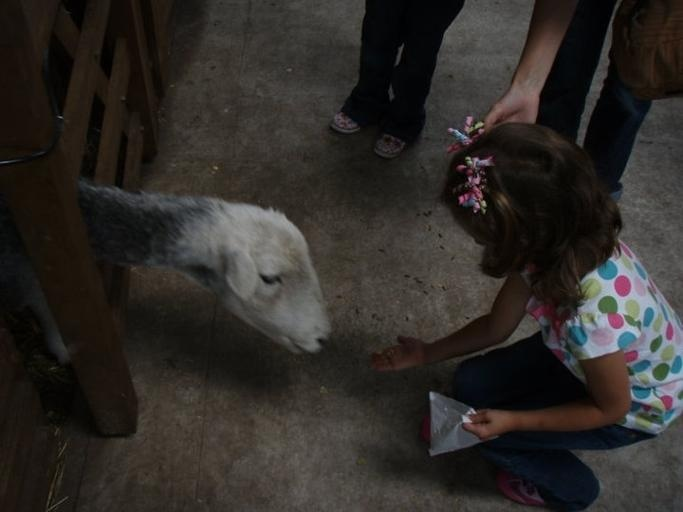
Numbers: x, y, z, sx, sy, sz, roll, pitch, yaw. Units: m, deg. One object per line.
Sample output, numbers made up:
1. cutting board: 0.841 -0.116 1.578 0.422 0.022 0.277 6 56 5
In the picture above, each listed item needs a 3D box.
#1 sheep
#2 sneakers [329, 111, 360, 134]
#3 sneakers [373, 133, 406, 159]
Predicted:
1. sheep: -0.669 0.044 3.419 1.829 0.774 0.729 19 68 -17
2. sneakers: 0.026 -0.991 4.769 0.241 0.118 0.128 -6 87 -10
3. sneakers: 0.356 -0.803 4.688 0.228 0.081 0.142 -34 78 -21
